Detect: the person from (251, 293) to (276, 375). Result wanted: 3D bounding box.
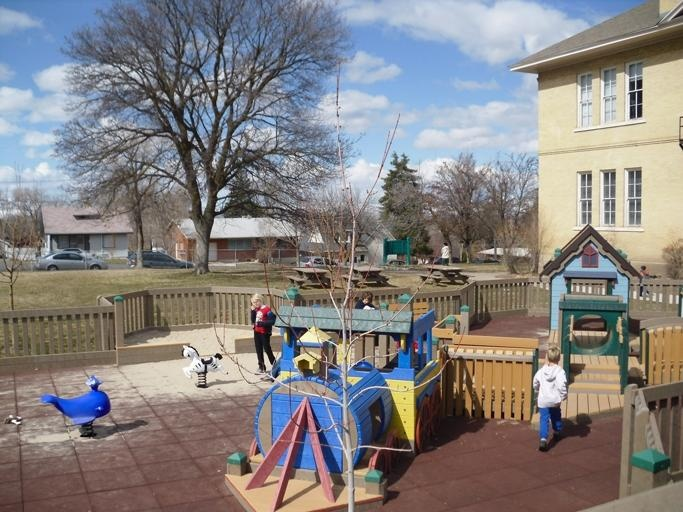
[{"bbox_3d":[-1.845,1.838,14.261,0.528,1.817,1.483,-2,7,-8],"label":"person"}]

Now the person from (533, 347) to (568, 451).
[{"bbox_3d":[3.596,2.390,10.420,0.533,1.650,1.046,2,7,18],"label":"person"}]

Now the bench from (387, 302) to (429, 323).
[{"bbox_3d":[1.986,1.444,16.555,1.065,0.697,1.071,0,-2,-4],"label":"bench"}]

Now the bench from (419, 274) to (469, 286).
[{"bbox_3d":[5.186,1.160,29.762,1.851,0.522,1.667,-1,7,-5],"label":"bench"}]
